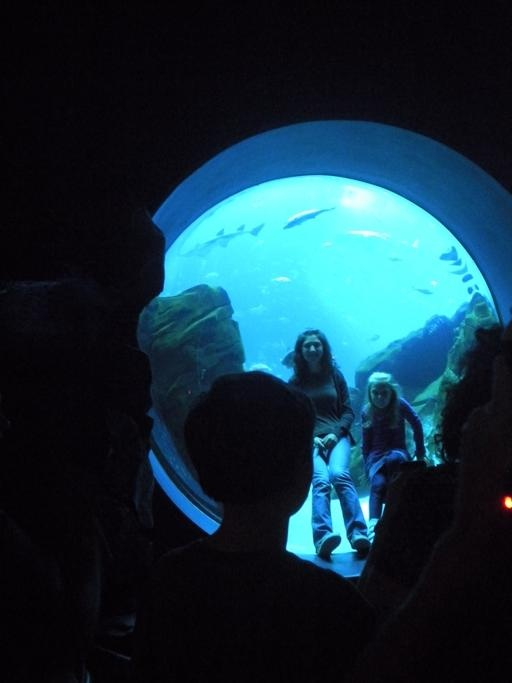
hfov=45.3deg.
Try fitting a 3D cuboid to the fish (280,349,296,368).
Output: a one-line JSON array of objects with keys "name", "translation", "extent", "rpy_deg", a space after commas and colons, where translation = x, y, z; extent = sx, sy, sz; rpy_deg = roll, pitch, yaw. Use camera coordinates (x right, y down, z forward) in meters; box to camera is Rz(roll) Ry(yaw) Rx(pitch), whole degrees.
[{"name": "fish", "translation": [0.258, 0.127, 4.763], "extent": [0.114, 0.111, 0.091], "rpy_deg": [-4, -9, -16]}]

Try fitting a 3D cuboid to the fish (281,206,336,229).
[{"name": "fish", "translation": [0.429, -1.076, 5.257], "extent": [0.436, 0.159, 0.113], "rpy_deg": [-16, 56, -44]}]
